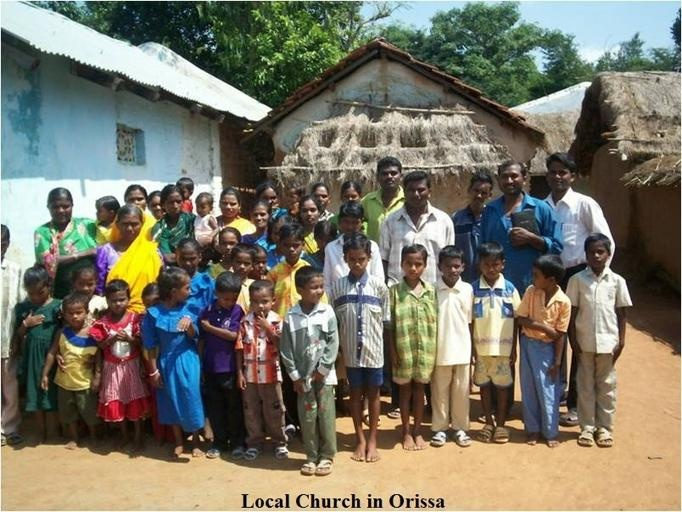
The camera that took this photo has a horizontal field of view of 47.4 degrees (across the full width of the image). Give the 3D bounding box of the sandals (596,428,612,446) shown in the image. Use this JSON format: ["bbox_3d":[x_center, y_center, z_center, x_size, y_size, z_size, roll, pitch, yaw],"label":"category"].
[{"bbox_3d":[2.994,2.060,8.824,0.135,0.125,0.200,-5,2,4],"label":"sandals"}]

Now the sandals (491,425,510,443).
[{"bbox_3d":[1.819,2.042,8.901,0.153,0.143,0.413,-1,-6,9],"label":"sandals"}]

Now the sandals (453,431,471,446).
[{"bbox_3d":[1.381,2.076,8.871,0.208,0.160,0.135,-2,-3,22],"label":"sandals"}]

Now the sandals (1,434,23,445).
[{"bbox_3d":[-3.806,2.125,8.996,0.234,0.103,0.093,0,1,7],"label":"sandals"}]

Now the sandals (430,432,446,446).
[{"bbox_3d":[1.122,2.080,8.906,0.186,0.163,0.231,-1,-3,10],"label":"sandals"}]

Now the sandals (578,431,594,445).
[{"bbox_3d":[2.790,2.059,8.823,0.190,0.170,0.127,-1,-3,12],"label":"sandals"}]

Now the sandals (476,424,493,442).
[{"bbox_3d":[1.665,2.023,8.948,0.112,0.089,0.228,3,23,21],"label":"sandals"}]
